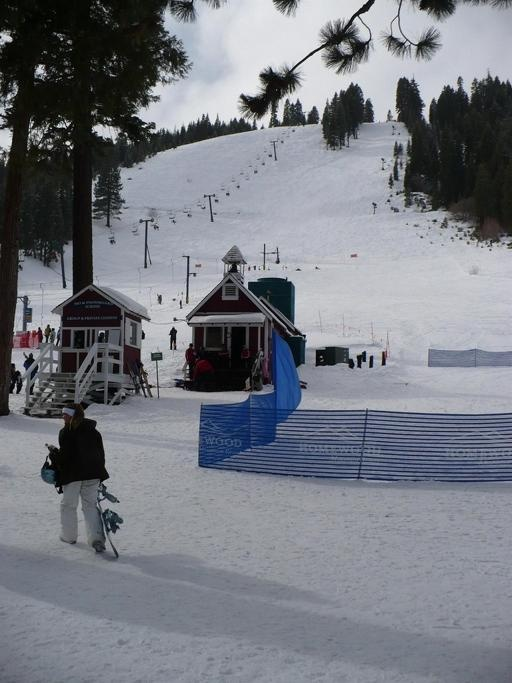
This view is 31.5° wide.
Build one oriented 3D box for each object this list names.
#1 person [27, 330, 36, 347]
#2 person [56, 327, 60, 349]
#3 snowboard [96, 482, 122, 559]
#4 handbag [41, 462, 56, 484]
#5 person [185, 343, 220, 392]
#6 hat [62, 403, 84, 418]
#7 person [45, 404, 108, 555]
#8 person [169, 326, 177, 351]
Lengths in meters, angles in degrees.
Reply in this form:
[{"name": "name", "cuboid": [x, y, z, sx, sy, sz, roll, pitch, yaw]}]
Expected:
[{"name": "person", "cuboid": [-11.719, -0.047, 47.106, 0.469, 0.788, 1.535, 1, 2, -15]}, {"name": "person", "cuboid": [-6.155, -0.114, 27.976, 0.136, 0.578, 1.281, 1, 2, -12]}, {"name": "snowboard", "cuboid": [-1.629, 2.003, 9.884, 0.242, 0.649, 0.127, -33, -18, -15]}, {"name": "handbag", "cuboid": [-2.303, 1.479, 9.999, 0.091, 0.212, 0.255, -6, -19, -7]}, {"name": "person", "cuboid": [-2.012, 0.961, 32.240, 1.036, 1.430, 2.844, 1, 2, -5]}, {"name": "hat", "cuboid": [-2.055, 0.780, 10.172, 0.127, 0.187, 0.201, 3, 3, 6]}, {"name": "person", "cuboid": [-1.969, 1.494, 9.996, 0.698, 1.562, 0.503, 1, 1, 6]}, {"name": "person", "cuboid": [-4.064, -0.074, 43.777, 0.370, 1.091, 1.763, 1, 2, -5]}]
